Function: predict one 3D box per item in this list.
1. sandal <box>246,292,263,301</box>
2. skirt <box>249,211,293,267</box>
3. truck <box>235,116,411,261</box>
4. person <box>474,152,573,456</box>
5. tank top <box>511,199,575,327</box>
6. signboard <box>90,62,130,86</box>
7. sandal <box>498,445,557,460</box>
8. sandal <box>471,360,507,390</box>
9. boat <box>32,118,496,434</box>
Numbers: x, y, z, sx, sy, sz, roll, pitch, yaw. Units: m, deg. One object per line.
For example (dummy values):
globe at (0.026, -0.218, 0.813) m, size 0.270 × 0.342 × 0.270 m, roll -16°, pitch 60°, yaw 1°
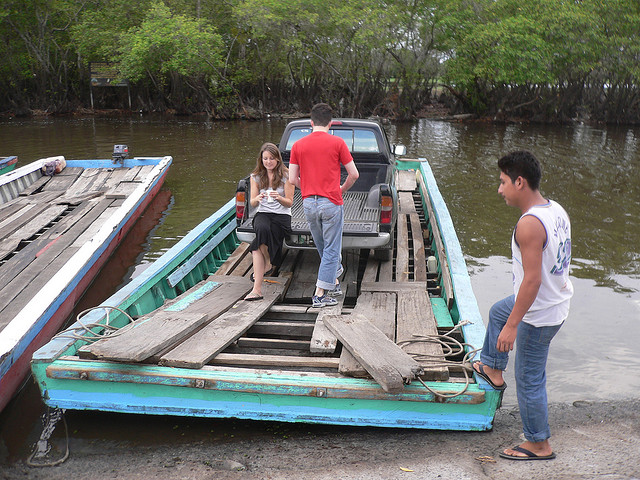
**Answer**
sandal at (-0.670, 0.583, 5.396) m, size 0.161 × 0.049 × 0.056 m, roll 1°, pitch 11°, yaw -6°
skirt at (-0.541, -0.161, 5.745) m, size 0.417 × 0.214 × 0.676 m, roll -6°, pitch 34°, yaw -7°
truck at (0.319, -0.736, 6.992) m, size 1.763 × 1.007 × 2.648 m, roll 2°, pitch 22°, yaw 8°
person at (1.557, 0.538, 3.981) m, size 0.655 × 2.386 × 0.643 m, roll 4°, pitch 18°, yaw 16°
tank top at (1.672, 0.168, 3.796) m, size 0.451 × 0.897 × 0.286 m, roll -11°, pitch 20°, yaw -30°
signboard at (-13.074, -10.173, 31.883) m, size 2.030 × 1.381 × 1.616 m, roll 2°, pitch 16°, yaw 8°
sandal at (1.593, 1.649, 4.014) m, size 0.408 × 0.074 × 0.143 m, roll 3°, pitch 4°, yaw 7°
sandal at (1.346, 1.110, 4.330) m, size 0.145 × 0.075 × 0.341 m, roll -2°, pitch 33°, yaw -47°
boat at (-0.173, 0.166, 5.605) m, size 3.900 × 2.507 × 3.809 m, roll 4°, pitch 16°, yaw 16°
